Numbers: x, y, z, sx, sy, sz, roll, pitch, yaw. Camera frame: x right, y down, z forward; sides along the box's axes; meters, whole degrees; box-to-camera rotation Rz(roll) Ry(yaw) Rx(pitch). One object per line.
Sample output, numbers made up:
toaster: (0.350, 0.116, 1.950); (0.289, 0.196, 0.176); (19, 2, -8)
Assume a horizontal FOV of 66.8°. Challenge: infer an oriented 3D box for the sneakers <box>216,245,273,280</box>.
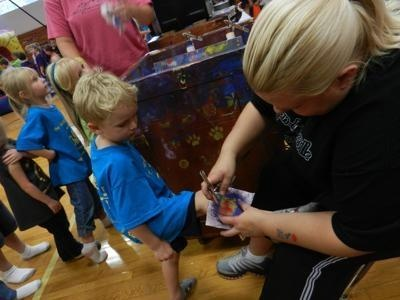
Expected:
sneakers: (0.246, 0.657, 1.793); (0.331, 0.152, 0.149); (-9, 43, 25)
